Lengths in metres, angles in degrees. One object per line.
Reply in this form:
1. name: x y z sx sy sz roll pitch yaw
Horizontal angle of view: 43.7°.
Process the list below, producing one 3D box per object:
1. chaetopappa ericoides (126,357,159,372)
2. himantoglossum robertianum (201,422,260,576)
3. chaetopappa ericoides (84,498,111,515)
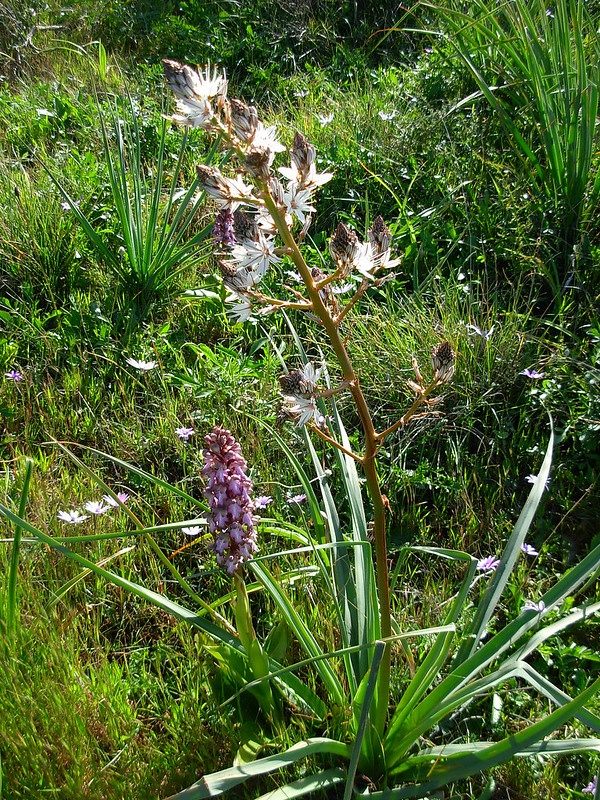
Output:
1. chaetopappa ericoides: -0.653 -0.124 3.089 0.087 0.034 0.098 23 30 15
2. himantoglossum robertianum: -0.161 0.216 1.681 0.110 0.339 0.190 -5 19 -21
3. chaetopappa ericoides: -0.679 0.369 2.500 0.064 0.035 0.078 16 25 5
